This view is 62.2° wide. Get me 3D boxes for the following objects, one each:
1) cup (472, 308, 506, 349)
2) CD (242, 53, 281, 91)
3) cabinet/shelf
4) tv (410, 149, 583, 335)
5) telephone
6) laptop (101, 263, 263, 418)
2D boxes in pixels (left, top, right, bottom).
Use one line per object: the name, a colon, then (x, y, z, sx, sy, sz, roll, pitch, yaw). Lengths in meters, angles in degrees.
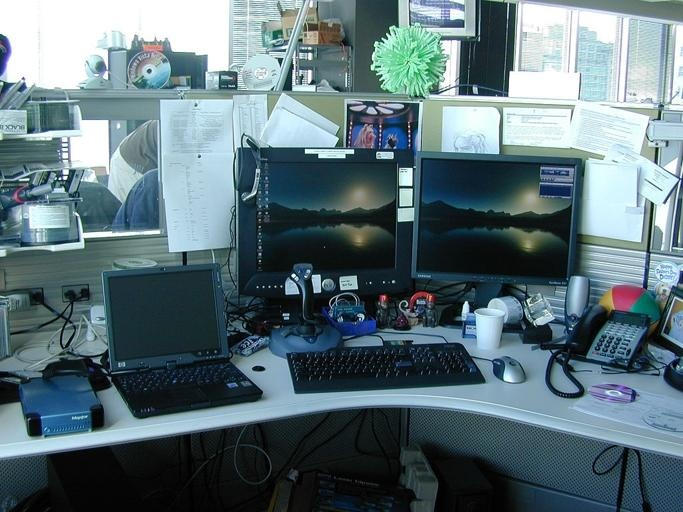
cup: (0.469, 0.238, 1.868, 0.115, 0.113, 0.115, 1, 5, 0)
CD: (-0.289, -0.663, 2.054, 0.144, 0.127, 0.092, -3, 15, -9)
cabinet/shelf: (-0.222, -1.828, 5.478, 0.582, 0.429, 0.532, -8, 16, -25)
tv: (0.542, -0.059, 1.968, 0.636, 0.582, 0.200, 3, 5, 2)
telephone: (0.840, 0.256, 1.762, 0.196, 0.080, 0.200, 9, 41, 35)
laptop: (-0.449, 0.192, 1.583, 0.409, 0.413, 0.312, -2, 1, -26)
